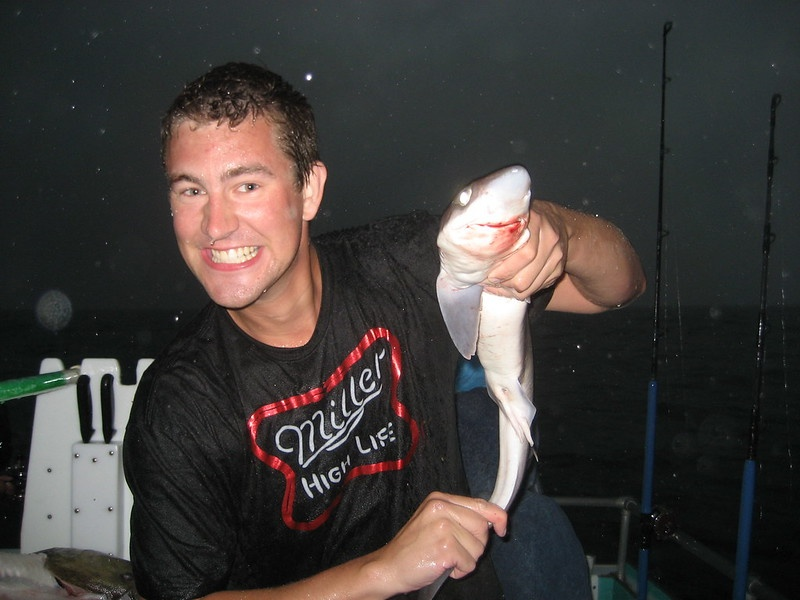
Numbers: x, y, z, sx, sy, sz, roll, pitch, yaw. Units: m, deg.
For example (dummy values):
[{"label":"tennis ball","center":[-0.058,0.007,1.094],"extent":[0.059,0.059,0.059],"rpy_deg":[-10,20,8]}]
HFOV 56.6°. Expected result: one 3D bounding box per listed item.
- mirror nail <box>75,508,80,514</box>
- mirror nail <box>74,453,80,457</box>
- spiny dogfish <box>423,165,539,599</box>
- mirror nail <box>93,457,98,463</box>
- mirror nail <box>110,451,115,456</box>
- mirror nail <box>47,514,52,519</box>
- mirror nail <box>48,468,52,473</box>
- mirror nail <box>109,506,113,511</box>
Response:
[{"label":"mirror nail","center":[-2.496,1.626,5.740],"extent":[0.038,0.036,0.010],"rpy_deg":[-3,-2,-33]},{"label":"mirror nail","center":[-2.503,1.198,5.751],"extent":[0.031,0.031,0.008],"rpy_deg":[11,-6,-14]},{"label":"spiny dogfish","center":[0.453,0.589,5.015],"extent":[0.664,2.974,0.946],"rpy_deg":[-5,22,-18]},{"label":"mirror nail","center":[-2.362,1.231,5.752],"extent":[0.036,0.036,0.009],"rpy_deg":[-3,-4,-13]},{"label":"mirror nail","center":[-2.232,1.183,5.753],"extent":[0.029,0.032,0.009],"rpy_deg":[-4,0,1]},{"label":"mirror nail","center":[-2.711,1.668,5.738],"extent":[0.029,0.029,0.007],"rpy_deg":[9,-24,-12]},{"label":"mirror nail","center":[-2.715,1.318,5.764],"extent":[0.037,0.037,0.009],"rpy_deg":[3,0,-16]},{"label":"mirror nail","center":[-2.234,1.609,5.744],"extent":[0.010,0.031,0.032],"rpy_deg":[-15,-7,39]}]
